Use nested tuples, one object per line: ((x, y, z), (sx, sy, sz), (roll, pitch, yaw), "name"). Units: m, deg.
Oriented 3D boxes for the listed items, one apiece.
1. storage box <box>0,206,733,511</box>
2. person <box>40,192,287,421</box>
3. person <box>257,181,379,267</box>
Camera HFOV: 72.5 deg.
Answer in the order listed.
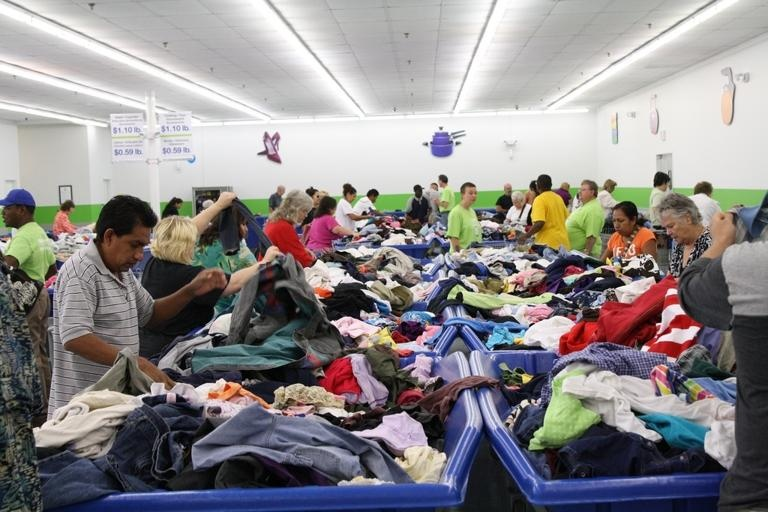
((0.008, 0.313, 3.024), (3.627, 1.220, 2.200), (1, 8, 3), "storage box")
((-1.260, -0.117, 3.742), (1.447, 2.211, 0.965), (-2, 22, -14), "person")
((-0.875, -0.330, 5.506), (1.011, 0.676, 0.518), (-8, 15, -35), "person")
